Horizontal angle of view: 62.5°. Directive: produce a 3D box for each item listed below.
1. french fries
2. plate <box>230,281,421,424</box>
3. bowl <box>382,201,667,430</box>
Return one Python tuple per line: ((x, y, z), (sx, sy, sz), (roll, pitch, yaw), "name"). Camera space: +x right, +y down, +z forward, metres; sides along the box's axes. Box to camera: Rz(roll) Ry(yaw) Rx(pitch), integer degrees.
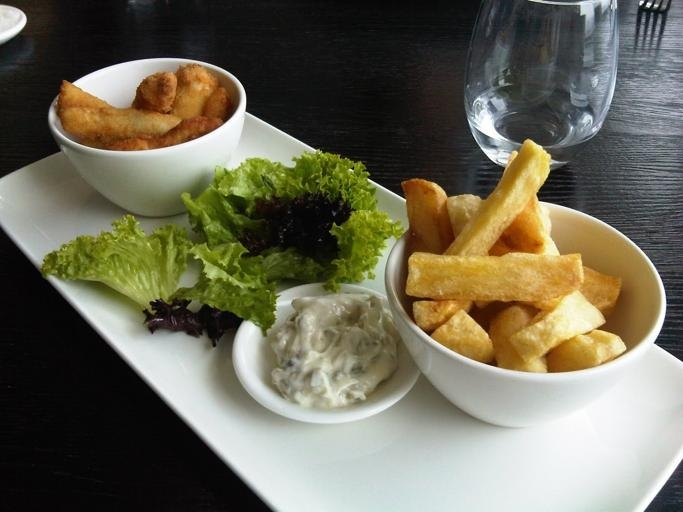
((0.347, -0.016, 1.348), (0.586, 0.492, 0.462), (-5, 18, -22), "french fries")
((-0.075, 0.174, 1.502), (0.510, 0.283, 0.404), (-8, 18, -9), "plate")
((0.414, 0.152, 1.253), (0.519, 0.292, 0.551), (0, 40, 0), "bowl")
